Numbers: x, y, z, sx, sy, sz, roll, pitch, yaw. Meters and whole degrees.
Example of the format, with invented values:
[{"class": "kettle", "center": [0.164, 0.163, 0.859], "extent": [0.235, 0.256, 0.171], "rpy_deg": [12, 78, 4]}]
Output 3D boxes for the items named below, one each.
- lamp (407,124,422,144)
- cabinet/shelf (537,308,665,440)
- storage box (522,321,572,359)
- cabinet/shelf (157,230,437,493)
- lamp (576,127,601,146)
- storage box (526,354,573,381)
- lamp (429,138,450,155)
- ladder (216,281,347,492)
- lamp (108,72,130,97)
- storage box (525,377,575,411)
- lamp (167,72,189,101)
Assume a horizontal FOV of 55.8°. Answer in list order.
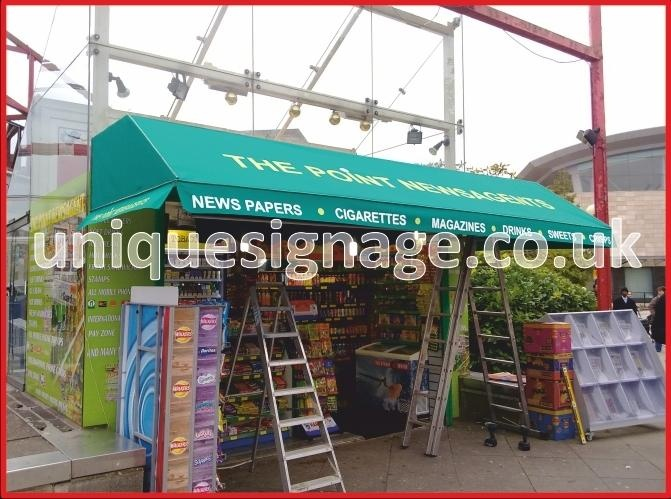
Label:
[{"class": "lamp", "center": [1.386, -2.006, 11.095], "extent": [0.150, 0.352, 0.374], "rpy_deg": [6, 9, 41]}, {"class": "cabinet/shelf", "center": [4.216, 2.014, 10.909], "extent": [2.227, 2.303, 1.529], "rpy_deg": [3, -6, -28]}, {"class": "storage box", "center": [3.365, 1.387, 10.016], "extent": [0.455, 0.569, 0.578], "rpy_deg": [-2, 2, -26]}, {"class": "cabinet/shelf", "center": [-0.268, 0.962, 9.700], "extent": [4.817, 4.553, 3.114], "rpy_deg": [3, -9, -38]}, {"class": "lamp", "center": [5.406, -2.379, 13.475], "extent": [0.426, 0.384, 0.316], "rpy_deg": [2, 8, 21]}, {"class": "storage box", "center": [3.407, 1.806, 9.949], "extent": [0.470, 0.290, 0.460], "rpy_deg": [2, -4, -26]}, {"class": "lamp", "center": [1.892, -1.864, 11.453], "extent": [0.497, 0.300, 0.093], "rpy_deg": [-7, 9, -41]}, {"class": "ladder", "center": [-0.806, 2.049, 9.085], "extent": [1.372, 3.093, 1.003], "rpy_deg": [1, 1, -37]}, {"class": "lamp", "center": [-2.943, -2.244, 8.648], "extent": [0.276, 0.344, 0.075], "rpy_deg": [-3, 8, -21]}, {"class": "storage box", "center": [3.328, 2.227, 9.938], "extent": [0.492, 0.369, 0.496], "rpy_deg": [3, -4, -32]}, {"class": "lamp", "center": [-2.260, -2.340, 9.195], "extent": [0.291, 0.375, 0.130], "rpy_deg": [8, -3, -16]}]
